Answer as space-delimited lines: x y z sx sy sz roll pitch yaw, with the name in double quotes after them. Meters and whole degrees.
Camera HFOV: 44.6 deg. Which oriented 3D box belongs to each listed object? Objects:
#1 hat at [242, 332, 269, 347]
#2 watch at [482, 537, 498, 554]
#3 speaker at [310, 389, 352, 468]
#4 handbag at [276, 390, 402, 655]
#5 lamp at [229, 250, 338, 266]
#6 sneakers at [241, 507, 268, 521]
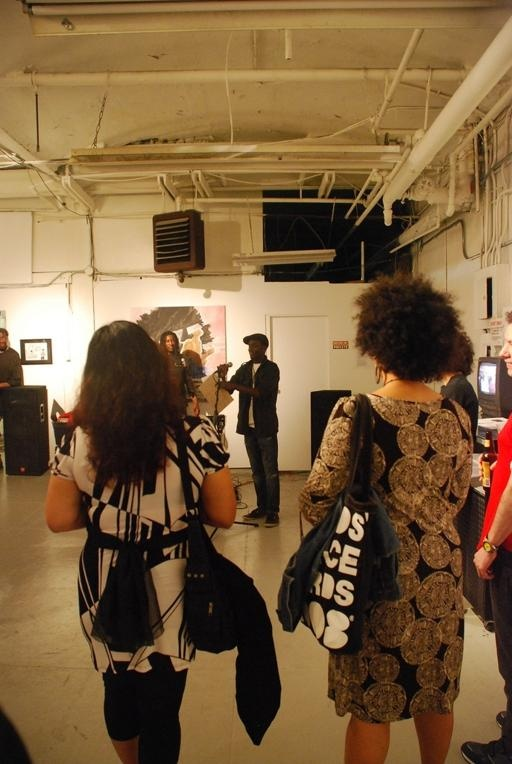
-0.003 -0.373 5.098 0.181 0.089 0.130 27 -24 -31 "hat"
0.773 0.546 2.062 0.052 0.065 0.082 2 4 19 "watch"
0.482 0.337 4.459 0.398 0.753 0.212 0 -24 7 "speaker"
0.235 0.380 1.737 0.339 0.689 0.293 5 9 14 "handbag"
0.265 -1.258 6.242 0.996 0.127 0.377 2 4 22 "lamp"
-0.007 1.067 4.946 0.229 0.090 0.079 2 -4 -31 "sneakers"
